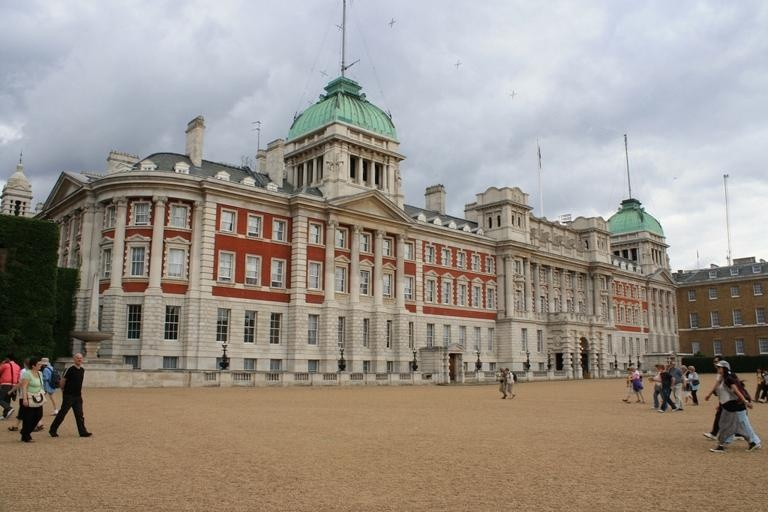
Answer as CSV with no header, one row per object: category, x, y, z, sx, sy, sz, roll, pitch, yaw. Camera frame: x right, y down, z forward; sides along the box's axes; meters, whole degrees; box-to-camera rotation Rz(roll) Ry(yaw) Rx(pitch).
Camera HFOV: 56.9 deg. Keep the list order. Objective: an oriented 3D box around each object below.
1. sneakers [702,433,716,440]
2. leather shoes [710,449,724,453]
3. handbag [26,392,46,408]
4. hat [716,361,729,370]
sneakers,12.715,6.987,27.672,0.605,0.226,0.207,22,-26,-17
leather shoes,12.074,7.021,25.768,0.473,0.204,0.163,4,-15,0
handbag,-13.032,5.319,26.479,0.329,0.561,0.722,-4,-13,16
hat,12.799,4.056,26.666,0.381,0.191,0.548,-2,-4,45
